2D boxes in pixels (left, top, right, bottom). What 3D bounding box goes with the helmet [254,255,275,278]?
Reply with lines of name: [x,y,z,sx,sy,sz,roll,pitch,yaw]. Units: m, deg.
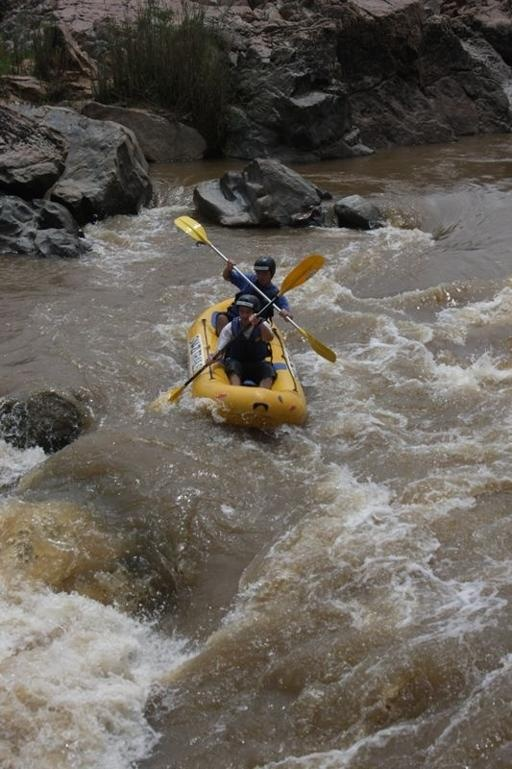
helmet: [0.078,-1.078,7.826,0.159,0.182,0.203,3,22,12]

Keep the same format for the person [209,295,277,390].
person: [-0.133,-0.378,7.507,0.492,0.461,0.877,0,38,-2]

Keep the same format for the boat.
boat: [-0.125,-0.189,7.584,0.663,0.378,1.340,-2,28,-5]

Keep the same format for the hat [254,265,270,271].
hat: [0.041,-1.052,7.741,0.132,0.063,0.053,5,16,36]
